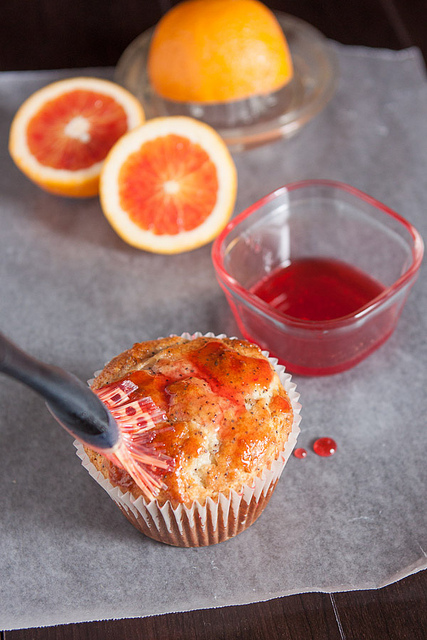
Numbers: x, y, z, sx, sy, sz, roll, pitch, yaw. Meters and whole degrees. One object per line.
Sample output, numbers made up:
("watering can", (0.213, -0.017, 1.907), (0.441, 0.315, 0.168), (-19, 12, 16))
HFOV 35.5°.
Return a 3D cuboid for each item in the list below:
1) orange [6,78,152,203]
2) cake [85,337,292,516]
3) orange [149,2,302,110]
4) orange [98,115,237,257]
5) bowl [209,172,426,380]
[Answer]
("orange", (-0.390, -0.548, 1.961), (0.398, 0.220, 0.354), (-10, 66, 11))
("cake", (-0.020, 0.167, 1.171), (0.332, 0.159, 0.309), (-10, 43, 2))
("orange", (0.004, -0.773, 1.917), (0.431, 0.252, 0.302), (-6, 50, 3))
("orange", (-0.110, -0.349, 1.815), (0.335, 0.322, 0.286), (4, 52, 12))
("bowl", (0.266, -0.031, 1.722), (0.529, 0.332, 0.529), (-4, 49, 5))
